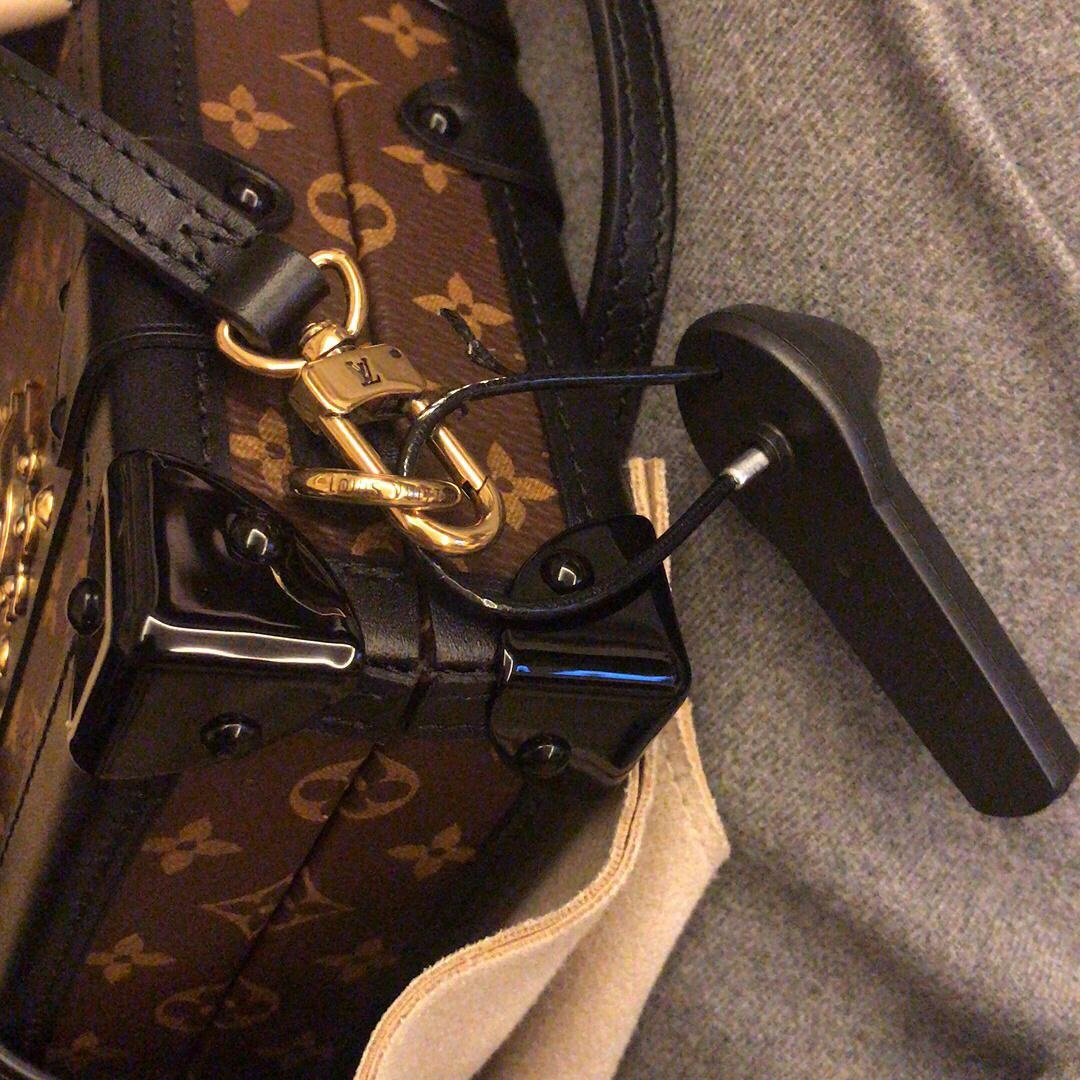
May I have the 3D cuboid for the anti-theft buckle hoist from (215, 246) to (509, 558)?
[{"bbox_3d":[-0.081,-0.054,0.628,0.091,0.039,0.174,-20,60,-30],"label":"anti-theft buckle hoist"}]
